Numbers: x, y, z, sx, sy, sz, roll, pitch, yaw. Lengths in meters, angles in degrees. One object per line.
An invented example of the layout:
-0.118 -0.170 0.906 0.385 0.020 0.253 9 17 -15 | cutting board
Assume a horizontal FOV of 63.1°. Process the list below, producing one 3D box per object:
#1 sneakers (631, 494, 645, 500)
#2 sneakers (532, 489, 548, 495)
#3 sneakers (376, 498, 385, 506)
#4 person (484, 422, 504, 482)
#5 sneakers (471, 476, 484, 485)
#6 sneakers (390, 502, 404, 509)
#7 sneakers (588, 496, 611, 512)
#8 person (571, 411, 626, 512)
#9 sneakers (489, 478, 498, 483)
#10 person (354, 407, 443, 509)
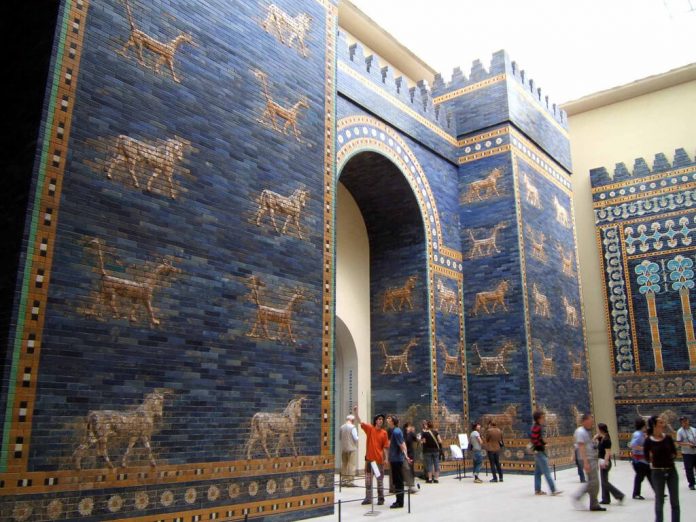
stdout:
5.240 4.260 10.265 0.187 0.077 0.100 0 -6 3 | sneakers
3.742 4.506 11.080 0.261 0.106 0.103 1 -6 -18 | sneakers
0.569 4.211 9.977 0.080 0.096 0.247 -1 -2 15 | sneakers
3.532 4.563 13.711 0.379 1.377 1.388 -6 -20 14 | person
2.963 5.018 12.989 0.274 0.271 0.133 0 -7 -6 | sneakers
0.818 4.155 9.654 0.186 0.076 0.087 0 -11 13 | sneakers
4.049 3.933 9.271 0.257 0.274 0.338 -9 -20 19 | sneakers
4.243 3.467 9.871 0.757 1.540 2.422 -10 -21 22 | person
3.317 5.039 13.057 0.132 0.093 0.075 -4 -15 34 | sneakers
0.675 3.570 10.206 0.871 1.556 2.177 -2 -19 1 | person
